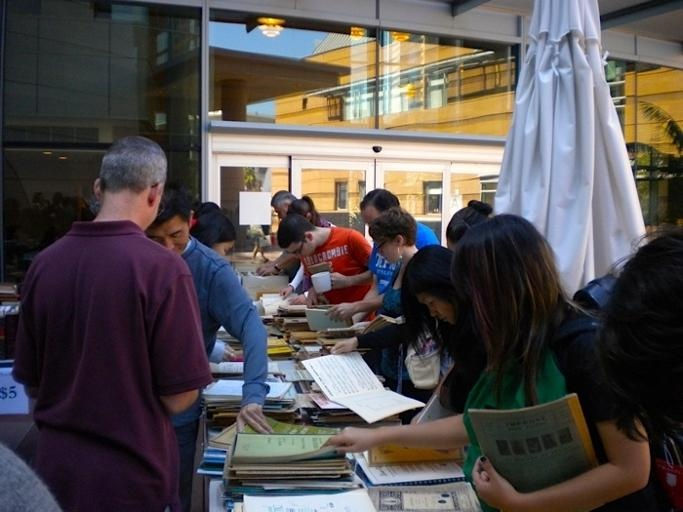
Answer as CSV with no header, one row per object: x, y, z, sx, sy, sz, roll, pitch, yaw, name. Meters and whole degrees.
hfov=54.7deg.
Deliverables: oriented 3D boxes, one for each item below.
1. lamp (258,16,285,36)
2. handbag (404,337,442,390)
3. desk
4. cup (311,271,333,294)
-0.810,-2.619,7.483,0.213,0.082,0.221,0,-3,-4,lamp
0.491,0.549,3.418,0.148,0.293,0.207,-9,-12,42,handbag
0.015,0.362,2.940,0.938,1.535,0.628,10,-22,-4,desk
-0.129,0.173,4.459,0.114,0.116,0.150,-6,-2,4,cup
